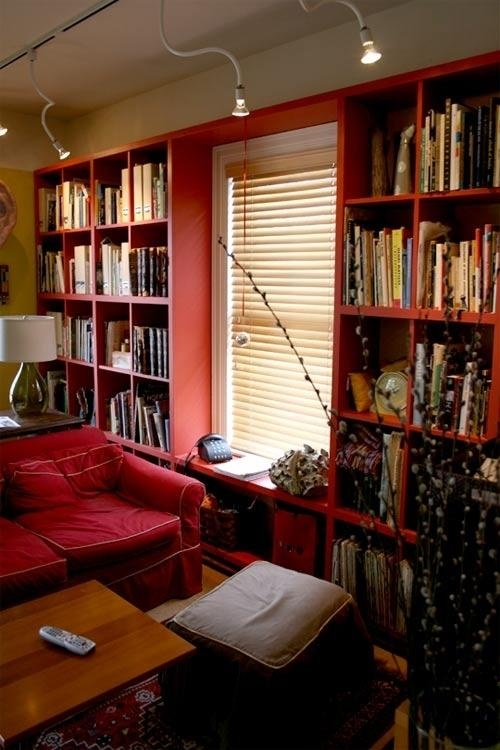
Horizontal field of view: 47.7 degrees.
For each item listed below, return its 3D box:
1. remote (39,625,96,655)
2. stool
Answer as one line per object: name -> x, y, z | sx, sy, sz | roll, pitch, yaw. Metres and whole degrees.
remote -> -0.384, 0.551, 1.192 | 0.090, 0.017, 0.056 | 14, 8, 19
stool -> -0.002, 0.704, 1.482 | 0.355, 0.223, 0.412 | 9, 17, 34
